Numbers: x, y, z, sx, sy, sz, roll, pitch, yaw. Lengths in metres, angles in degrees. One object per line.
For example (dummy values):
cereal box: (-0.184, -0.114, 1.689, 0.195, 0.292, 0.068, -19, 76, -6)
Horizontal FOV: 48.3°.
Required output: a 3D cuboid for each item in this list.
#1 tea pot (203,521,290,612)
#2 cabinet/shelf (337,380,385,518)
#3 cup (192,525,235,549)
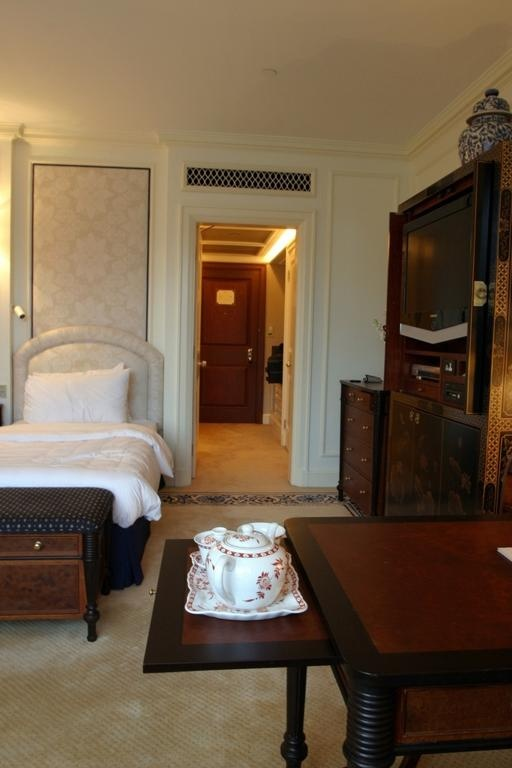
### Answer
tea pot: (-0.017, 0.282, 1.036, 0.118, 0.125, 0.196, 4, 8, 12)
cabinet/shelf: (0.667, 0.420, 3.599, 0.334, 0.754, 0.802, 1, 7, -3)
cup: (-0.091, 0.303, 1.093, 0.056, 0.029, 0.053, -1, 3, 0)
